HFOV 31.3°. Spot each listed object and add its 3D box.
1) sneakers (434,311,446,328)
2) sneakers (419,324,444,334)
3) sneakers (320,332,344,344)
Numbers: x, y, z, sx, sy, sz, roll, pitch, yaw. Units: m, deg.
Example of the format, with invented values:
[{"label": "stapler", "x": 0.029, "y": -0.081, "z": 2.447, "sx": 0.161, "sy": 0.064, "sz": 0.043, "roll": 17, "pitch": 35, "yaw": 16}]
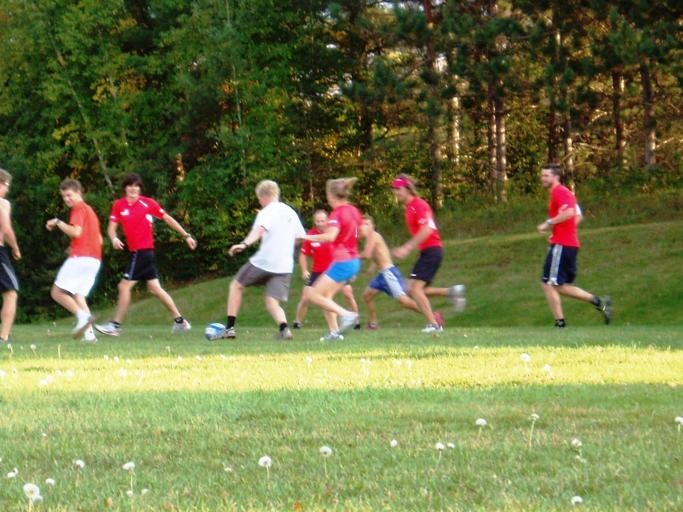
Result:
[{"label": "sneakers", "x": 2.524, "y": 1.749, "z": 31.112, "sx": 0.202, "sy": 0.575, "sz": 0.248, "roll": -11, "pitch": 10, "yaw": 10}, {"label": "sneakers", "x": 2.301, "y": 1.867, "z": 30.628, "sx": 0.568, "sy": 0.228, "sz": 0.204, "roll": -3, "pitch": -1, "yaw": -13}, {"label": "sneakers", "x": -0.181, "y": 2.039, "z": 29.915, "sx": 0.608, "sy": 0.260, "sz": 0.215, "roll": 0, "pitch": -14, "yaw": 3}]
